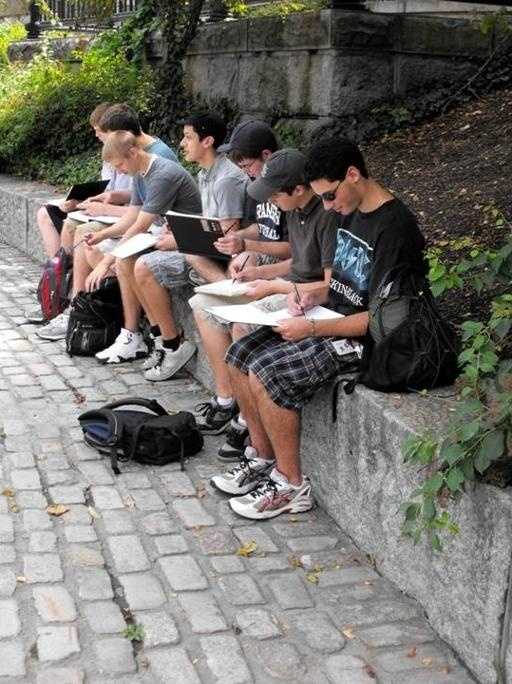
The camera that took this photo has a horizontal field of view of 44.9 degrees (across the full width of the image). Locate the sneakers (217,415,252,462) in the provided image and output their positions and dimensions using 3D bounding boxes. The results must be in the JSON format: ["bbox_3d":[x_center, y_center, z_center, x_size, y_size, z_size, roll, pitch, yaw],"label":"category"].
[{"bbox_3d":[-0.108,0.517,3.387,0.112,0.123,0.317,15,21,29],"label":"sneakers"}]

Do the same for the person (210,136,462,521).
[{"bbox_3d":[0.286,-0.043,2.685,0.701,1.652,0.989,-4,15,-32],"label":"person"}]

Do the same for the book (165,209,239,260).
[{"bbox_3d":[-0.294,-0.676,3.963,0.446,0.284,0.298,14,28,32],"label":"book"}]

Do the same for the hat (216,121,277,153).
[{"bbox_3d":[-0.055,-1.216,3.697,0.318,0.160,0.194,4,37,-3],"label":"hat"}]

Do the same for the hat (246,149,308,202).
[{"bbox_3d":[0.110,-0.839,3.089,0.336,0.181,0.195,-23,52,6],"label":"hat"}]

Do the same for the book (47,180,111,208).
[{"bbox_3d":[-1.641,-1.377,5.702,0.331,0.185,0.335,25,28,36],"label":"book"}]

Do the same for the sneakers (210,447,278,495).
[{"bbox_3d":[-0.019,0.626,3.008,0.360,0.153,0.133,-7,26,-33],"label":"sneakers"}]

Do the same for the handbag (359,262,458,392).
[{"bbox_3d":[0.628,-0.041,2.420,0.371,0.479,0.223,6,13,8],"label":"handbag"}]

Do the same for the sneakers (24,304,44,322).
[{"bbox_3d":[-2.015,-0.238,5.665,0.250,0.093,0.102,12,4,43],"label":"sneakers"}]

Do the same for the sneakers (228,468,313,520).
[{"bbox_3d":[0.088,0.674,2.840,0.443,0.215,0.156,-3,8,-19],"label":"sneakers"}]

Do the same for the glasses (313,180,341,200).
[{"bbox_3d":[0.308,-0.634,2.614,0.064,0.019,0.063,-45,18,-18],"label":"glasses"}]
